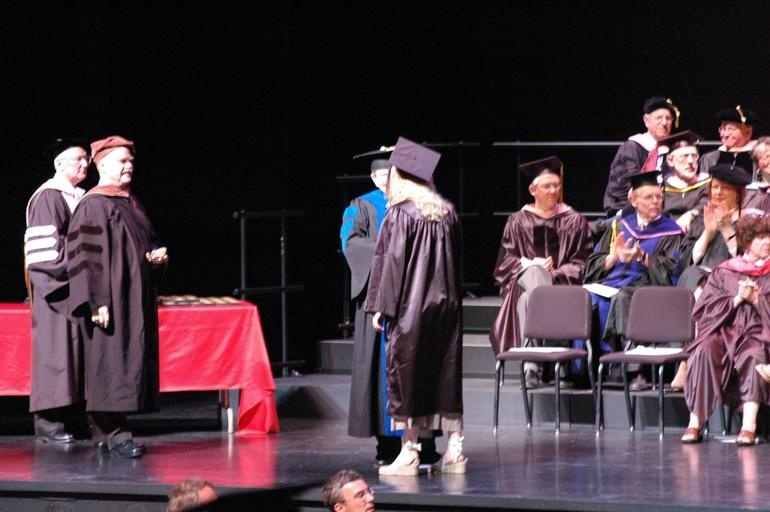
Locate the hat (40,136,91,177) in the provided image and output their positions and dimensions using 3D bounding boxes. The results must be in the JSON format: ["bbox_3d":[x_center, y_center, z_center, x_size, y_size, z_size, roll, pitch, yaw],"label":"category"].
[{"bbox_3d":[-2.669,-0.808,8.137,0.458,0.097,0.443,3,-20,-45],"label":"hat"}]

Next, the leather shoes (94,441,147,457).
[{"bbox_3d":[-1.922,1.415,7.109,0.356,0.128,0.275,0,-5,-13],"label":"leather shoes"}]

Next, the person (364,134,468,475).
[{"bbox_3d":[0.205,0.341,6.558,0.674,2.272,0.305,-1,-5,-5],"label":"person"}]

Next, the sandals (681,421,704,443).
[{"bbox_3d":[2.363,1.372,7.464,0.133,0.098,0.357,-6,-8,25],"label":"sandals"}]

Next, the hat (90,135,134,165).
[{"bbox_3d":[-2.093,-0.767,7.358,0.311,0.110,0.273,-1,11,42],"label":"hat"}]

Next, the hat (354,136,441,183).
[{"bbox_3d":[0.089,-0.653,6.661,0.502,0.159,0.275,13,-1,39],"label":"hat"}]

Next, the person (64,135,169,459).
[{"bbox_3d":[-1.976,0.479,7.201,0.709,2.005,0.338,0,-5,-15],"label":"person"}]

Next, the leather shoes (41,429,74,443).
[{"bbox_3d":[-2.508,1.403,7.513,0.238,0.085,0.103,1,-1,5],"label":"leather shoes"}]

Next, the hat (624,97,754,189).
[{"bbox_3d":[2.923,-1.021,8.905,0.926,0.877,0.933,-2,-1,-21],"label":"hat"}]
